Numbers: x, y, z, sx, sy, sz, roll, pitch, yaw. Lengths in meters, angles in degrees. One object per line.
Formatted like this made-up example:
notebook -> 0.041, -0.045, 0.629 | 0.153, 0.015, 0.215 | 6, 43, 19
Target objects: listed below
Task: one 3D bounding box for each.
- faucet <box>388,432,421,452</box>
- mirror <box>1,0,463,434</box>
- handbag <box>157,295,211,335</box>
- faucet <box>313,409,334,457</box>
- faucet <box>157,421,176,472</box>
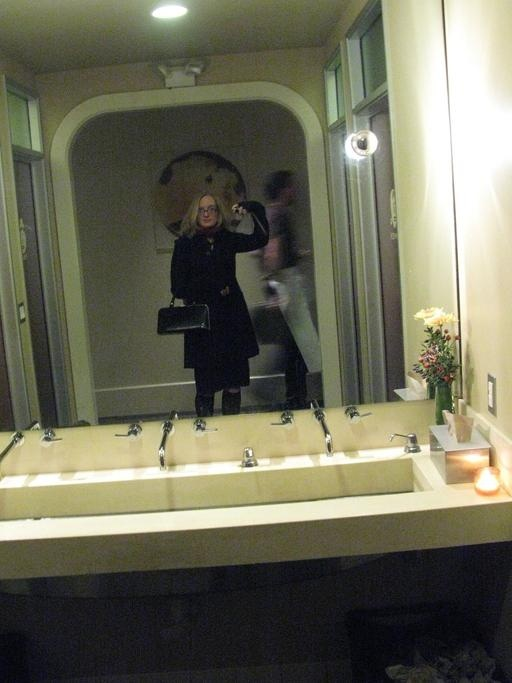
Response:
faucet -> 0.429, 0.283, 1.598 | 0.096, 0.060, 0.048 | -2, -5, -19
mirror -> -0.087, -0.384, 1.524 | 1.163, 1.119, 0.031 | -3, 7, -2
handbag -> -0.202, -0.080, 1.562 | 0.108, 0.089, 0.034 | -2, 11, -2
faucet -> 0.183, 0.245, 1.518 | 0.040, 0.126, 0.047 | 0, -8, -17
faucet -> -0.249, 0.281, 1.544 | 0.036, 0.145, 0.057 | 1, -14, 3
